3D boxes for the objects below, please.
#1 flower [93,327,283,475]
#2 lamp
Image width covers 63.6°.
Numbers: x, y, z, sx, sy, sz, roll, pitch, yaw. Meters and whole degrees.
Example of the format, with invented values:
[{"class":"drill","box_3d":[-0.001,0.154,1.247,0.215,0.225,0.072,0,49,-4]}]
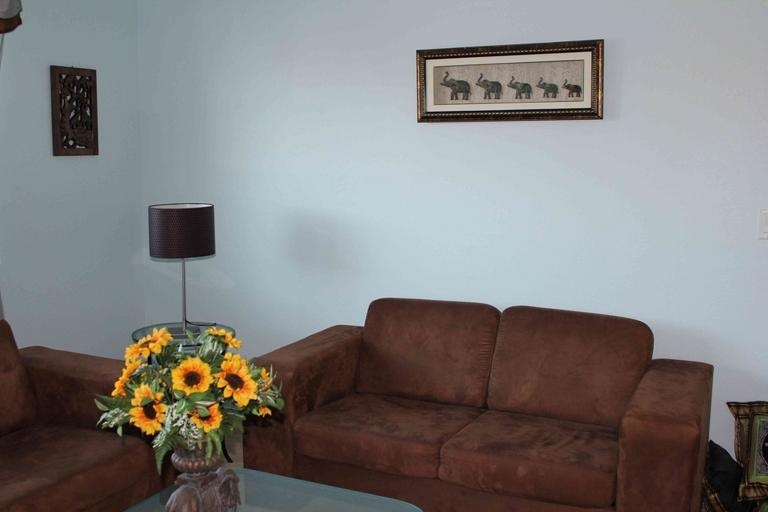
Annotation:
[{"class":"flower","box_3d":[-0.780,0.602,2.487,0.710,0.611,0.319,0,6,-16]},{"class":"lamp","box_3d":[-1.429,0.077,4.357,0.407,0.893,0.608,0,6,-19]}]
